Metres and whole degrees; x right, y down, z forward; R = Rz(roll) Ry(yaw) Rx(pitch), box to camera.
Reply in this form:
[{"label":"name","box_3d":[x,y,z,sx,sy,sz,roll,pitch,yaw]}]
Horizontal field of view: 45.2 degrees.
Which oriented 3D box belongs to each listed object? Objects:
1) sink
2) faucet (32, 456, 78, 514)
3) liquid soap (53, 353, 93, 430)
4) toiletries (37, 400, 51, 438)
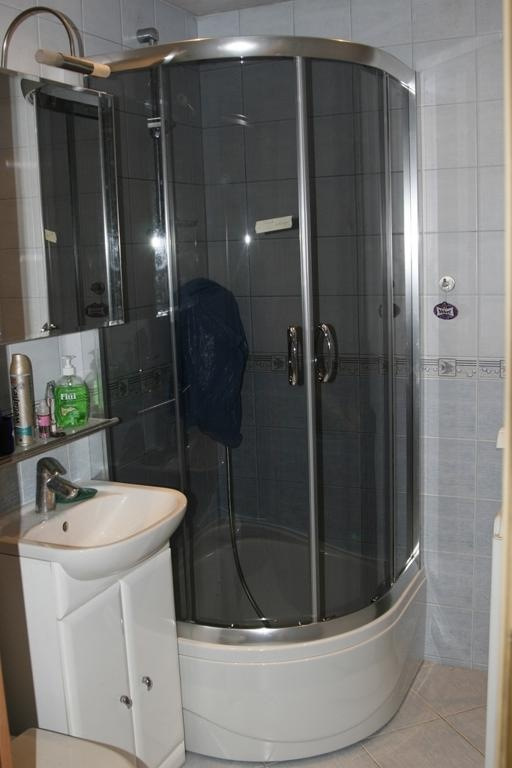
[{"label":"sink","box_3d":[-0.416,0.367,1.667,0.416,0.104,0.237,-8,9,-28]},{"label":"faucet","box_3d":[-0.518,0.270,1.599,0.142,0.154,0.052,13,18,27]},{"label":"liquid soap","box_3d":[-0.516,0.018,1.725,0.095,0.209,0.056,-4,25,-18]},{"label":"toiletries","box_3d":[-0.554,0.092,1.602,0.036,0.093,0.063,-6,8,-20]}]
